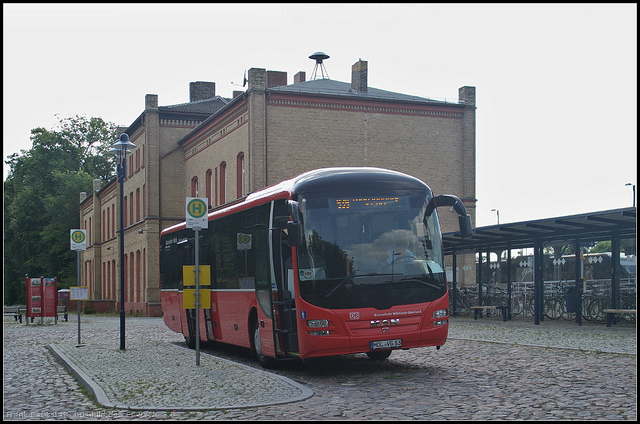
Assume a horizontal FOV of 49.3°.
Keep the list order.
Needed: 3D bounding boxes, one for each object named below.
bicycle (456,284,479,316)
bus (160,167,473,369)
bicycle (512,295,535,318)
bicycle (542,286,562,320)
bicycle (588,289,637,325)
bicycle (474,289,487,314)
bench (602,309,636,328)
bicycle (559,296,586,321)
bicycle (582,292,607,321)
[{"bbox_3d":[6.950,4.348,33.667,0.764,0.823,1.482,1,-1,-21],"label":"bicycle"},{"bbox_3d":[-1.347,1.611,19.962,3.994,3.953,13.185,1,-7,-25],"label":"bus"},{"bbox_3d":[9.006,4.183,31.316,0.540,0.969,1.773,-1,-7,-4],"label":"bicycle"},{"bbox_3d":[9.616,3.925,28.877,0.454,0.998,1.130,2,-8,-25],"label":"bicycle"},{"bbox_3d":[10.613,3.515,25.472,0.869,0.934,1.678,4,-6,-42],"label":"bicycle"},{"bbox_3d":[7.548,4.248,32.746,0.575,1.067,3.543,-3,-8,13],"label":"bicycle"},{"bbox_3d":[10.475,3.693,24.491,0.953,0.600,2.144,-4,-8,21],"label":"bench"},{"bbox_3d":[10.256,3.998,28.515,0.220,0.816,0.884,5,6,-3],"label":"bicycle"},{"bbox_3d":[10.218,3.564,26.237,0.341,0.910,0.885,2,-8,-24],"label":"bicycle"}]
